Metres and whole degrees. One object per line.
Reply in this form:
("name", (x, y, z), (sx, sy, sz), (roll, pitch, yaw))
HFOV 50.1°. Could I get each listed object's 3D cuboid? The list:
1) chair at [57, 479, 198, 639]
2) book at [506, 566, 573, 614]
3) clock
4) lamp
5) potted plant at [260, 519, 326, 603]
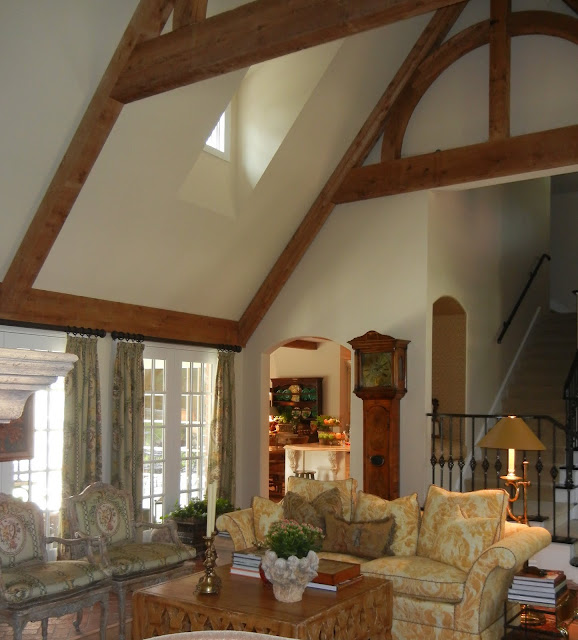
("chair", (-1.188, 1.833, 5.024), (0.886, 1.537, 1.111), (-8, -12, 33))
("book", (1.530, 1.586, 3.831), (0.255, 0.188, 0.346), (-5, -6, 36))
("clock", (0.935, 0.970, 6.298), (0.585, 1.675, 0.378), (-8, -12, 37))
("lamp", (1.561, 1.072, 4.338), (0.476, 0.753, 0.502), (1, -8, 30))
("potted plant", (0.038, 1.293, 3.298), (0.316, 0.435, 0.341), (0, -17, 3))
